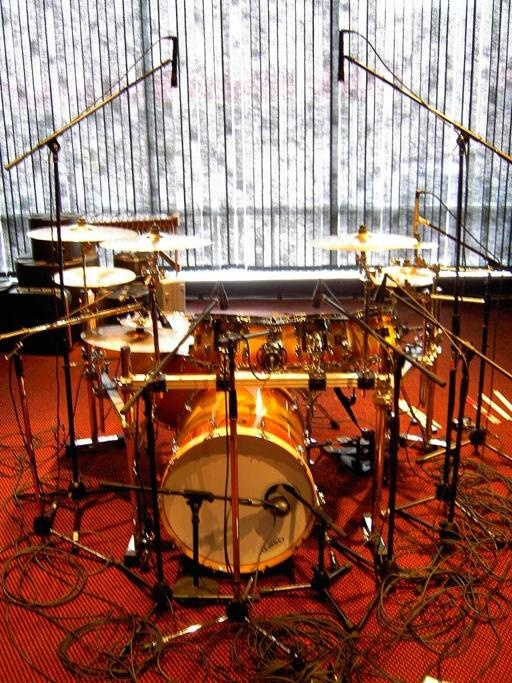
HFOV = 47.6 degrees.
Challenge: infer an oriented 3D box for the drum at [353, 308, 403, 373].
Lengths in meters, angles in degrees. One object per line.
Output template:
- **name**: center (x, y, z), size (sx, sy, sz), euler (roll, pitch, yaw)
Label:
- **drum**: center (0.511, -0.032, 2.502), size (0.185, 0.253, 0.191), euler (0, 9, 0)

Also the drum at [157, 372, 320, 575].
- **drum**: center (-0.073, 0.457, 2.211), size (0.534, 0.720, 0.653), euler (17, 19, -6)

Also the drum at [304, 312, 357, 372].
- **drum**: center (0.303, -0.012, 2.403), size (0.187, 0.245, 0.187), euler (-3, 3, 0)
